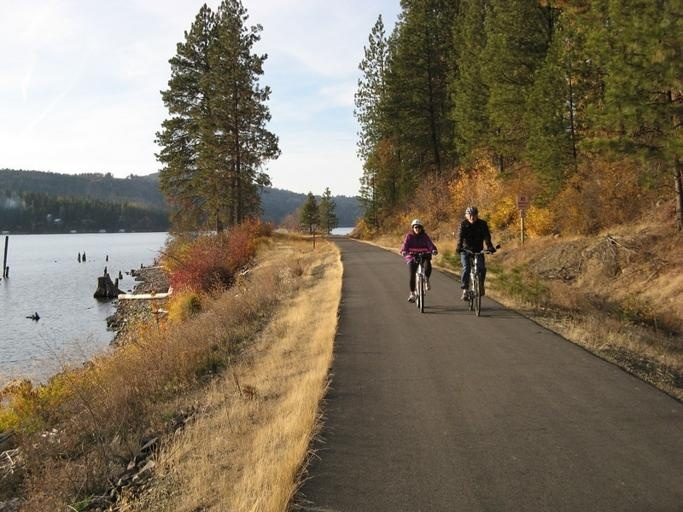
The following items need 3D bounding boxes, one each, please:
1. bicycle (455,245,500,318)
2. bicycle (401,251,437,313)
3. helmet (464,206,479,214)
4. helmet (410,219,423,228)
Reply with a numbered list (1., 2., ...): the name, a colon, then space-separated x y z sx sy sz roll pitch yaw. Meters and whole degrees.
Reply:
1. bicycle: 4.488 0.954 20.948 0.839 1.378 1.944 1 -1 -2
2. bicycle: 2.660 0.868 21.263 0.566 1.941 1.106 0 5 4
3. helmet: 4.120 -1.415 20.041 0.311 0.235 0.483 2 6 20
4. helmet: 2.486 -1.013 20.671 0.313 0.316 0.505 0 6 0
